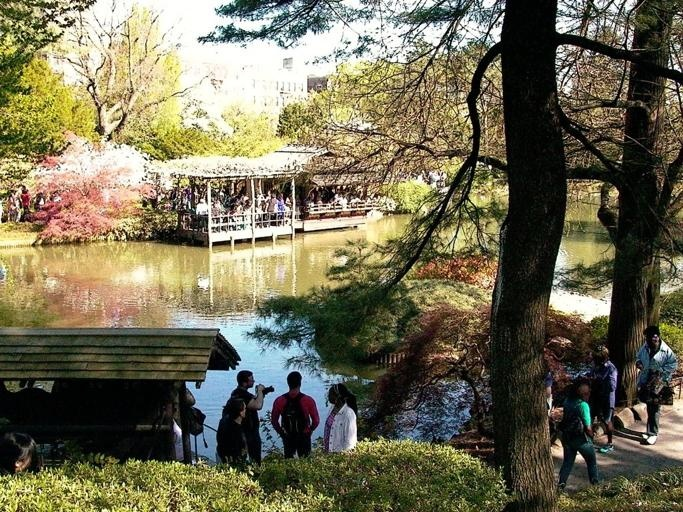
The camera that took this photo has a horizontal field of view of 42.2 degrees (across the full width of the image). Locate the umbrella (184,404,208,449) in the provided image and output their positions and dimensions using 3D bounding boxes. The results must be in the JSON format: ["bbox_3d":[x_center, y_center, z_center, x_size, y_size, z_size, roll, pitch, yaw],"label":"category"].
[{"bbox_3d":[-2.237,2.526,13.429,0.237,0.415,0.336,-23,-9,-11],"label":"umbrella"}]

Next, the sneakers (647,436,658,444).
[{"bbox_3d":[4.974,2.940,14.181,0.274,0.141,0.104,1,-3,-42],"label":"sneakers"}]

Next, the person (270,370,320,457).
[{"bbox_3d":[-0.651,2.610,13.008,0.705,1.862,0.446,2,12,11],"label":"person"}]

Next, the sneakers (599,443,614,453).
[{"bbox_3d":[4.170,3.047,13.983,0.115,0.117,0.255,-10,-10,42],"label":"sneakers"}]

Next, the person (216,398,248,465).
[{"bbox_3d":[-1.533,2.457,12.290,0.411,0.896,1.189,-1,-2,-6],"label":"person"}]

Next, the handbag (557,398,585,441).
[{"bbox_3d":[3.297,2.335,12.611,0.415,0.602,0.188,-2,-2,20],"label":"handbag"}]

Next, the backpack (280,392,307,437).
[{"bbox_3d":[-0.719,2.251,12.913,0.443,0.729,0.398,-7,26,-13],"label":"backpack"}]

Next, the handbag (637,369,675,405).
[{"bbox_3d":[4.906,2.134,14.135,0.691,0.777,0.439,0,-17,13],"label":"handbag"}]
